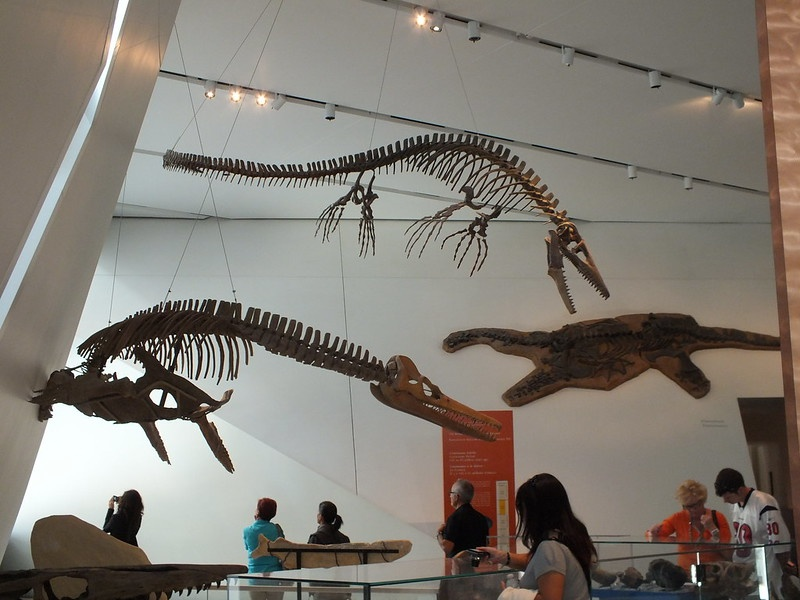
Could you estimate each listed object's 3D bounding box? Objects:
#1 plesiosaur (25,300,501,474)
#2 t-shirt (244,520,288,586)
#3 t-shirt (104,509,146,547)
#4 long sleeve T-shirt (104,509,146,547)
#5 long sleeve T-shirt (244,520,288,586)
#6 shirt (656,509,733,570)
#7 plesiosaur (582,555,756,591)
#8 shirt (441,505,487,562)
[{"bbox_3d":[-1.520,1.158,8.533,5.419,2.445,1.384,8,-5,0],"label":"plesiosaur"},{"bbox_3d":[-1.200,2.224,6.353,0.331,0.521,0.288,-3,-27,-8],"label":"t-shirt"},{"bbox_3d":[-2.555,2.078,6.649,0.268,0.289,0.458,10,-25,-25],"label":"t-shirt"},{"bbox_3d":[-2.555,2.078,6.649,0.268,0.289,0.458,10,-25,-25],"label":"long sleeve T-shirt"},{"bbox_3d":[-1.257,2.322,6.685,0.328,0.535,0.311,-8,-21,3],"label":"long sleeve T-shirt"},{"bbox_3d":[2.624,2.206,6.474,0.594,0.748,0.458,2,-29,22],"label":"shirt"},{"bbox_3d":[1.785,1.804,4.716,1.007,0.238,0.282,-10,-24,21],"label":"plesiosaur"},{"bbox_3d":[0.534,1.943,6.126,0.235,0.453,0.439,13,-4,28],"label":"shirt"}]
